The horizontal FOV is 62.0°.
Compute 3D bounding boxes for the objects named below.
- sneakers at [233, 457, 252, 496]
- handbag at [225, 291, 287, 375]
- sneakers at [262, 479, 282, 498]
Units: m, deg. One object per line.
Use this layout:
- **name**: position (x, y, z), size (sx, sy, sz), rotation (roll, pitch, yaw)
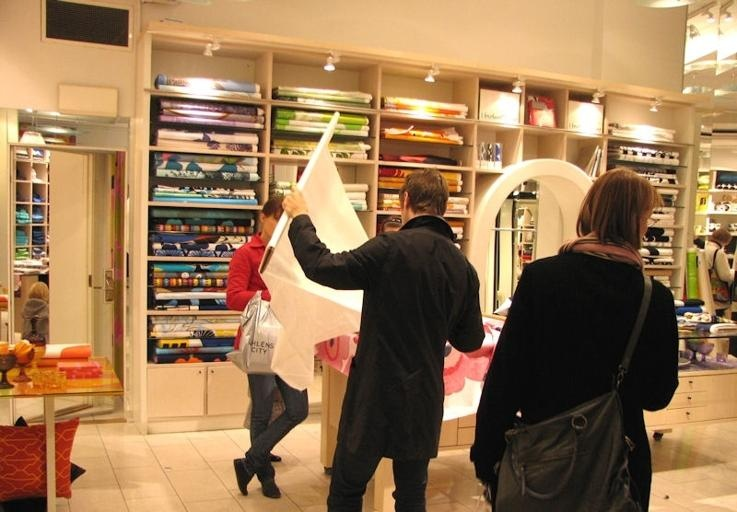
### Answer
- **sneakers**: position (-0.912, 1.594, 4.531), size (0.137, 0.294, 0.104), rotation (-9, 5, -1)
- **handbag**: position (-0.775, 0.564, 4.200), size (0.277, 0.609, 0.433), rotation (-3, 9, -34)
- **sneakers**: position (-0.709, 1.684, 4.480), size (0.143, 0.128, 0.110), rotation (1, 7, -9)
